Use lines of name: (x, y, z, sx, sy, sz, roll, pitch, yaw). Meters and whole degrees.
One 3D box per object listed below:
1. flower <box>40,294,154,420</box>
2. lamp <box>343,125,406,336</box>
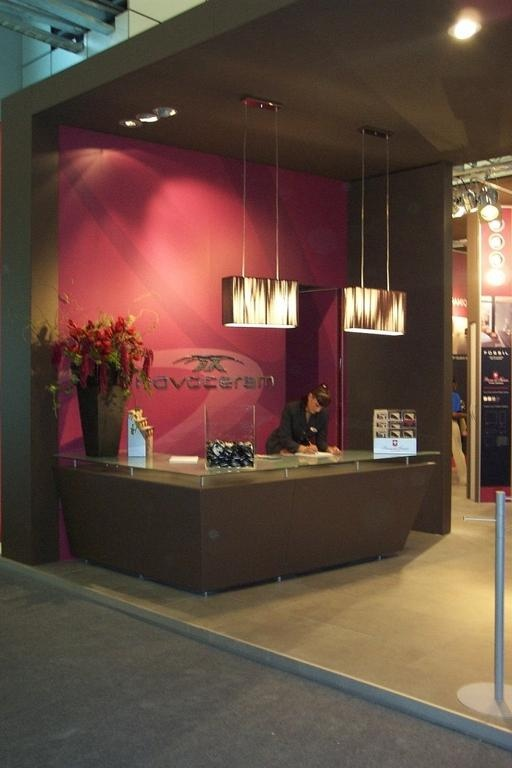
flower: (-1.140, -0.255, 5.003, 0.770, 0.915, 0.858, 4, 7, 43)
lamp: (0.996, -1.315, 5.191, 0.579, 1.771, 0.193, 4, -5, -19)
